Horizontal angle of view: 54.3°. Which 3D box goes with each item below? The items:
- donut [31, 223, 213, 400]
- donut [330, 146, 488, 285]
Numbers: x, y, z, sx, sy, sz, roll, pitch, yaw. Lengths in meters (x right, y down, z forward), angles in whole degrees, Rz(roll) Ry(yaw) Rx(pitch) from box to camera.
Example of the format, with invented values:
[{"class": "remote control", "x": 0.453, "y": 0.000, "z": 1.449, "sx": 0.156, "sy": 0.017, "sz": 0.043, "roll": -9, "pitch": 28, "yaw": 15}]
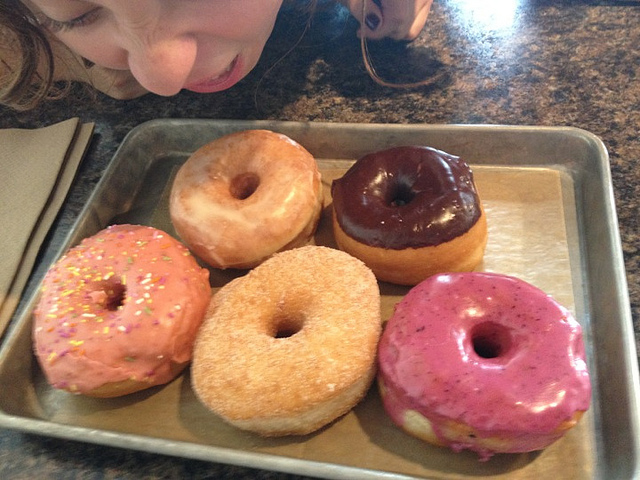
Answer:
[{"class": "donut", "x": -0.371, "y": 0.144, "z": 1.220, "sx": 0.375, "sy": 0.117, "sz": 0.294, "roll": 0, "pitch": 55, "yaw": 2}, {"class": "donut", "x": 0.177, "y": -0.051, "z": 1.261, "sx": 0.368, "sy": 0.134, "sz": 0.278, "roll": -4, "pitch": 50, "yaw": 11}]
